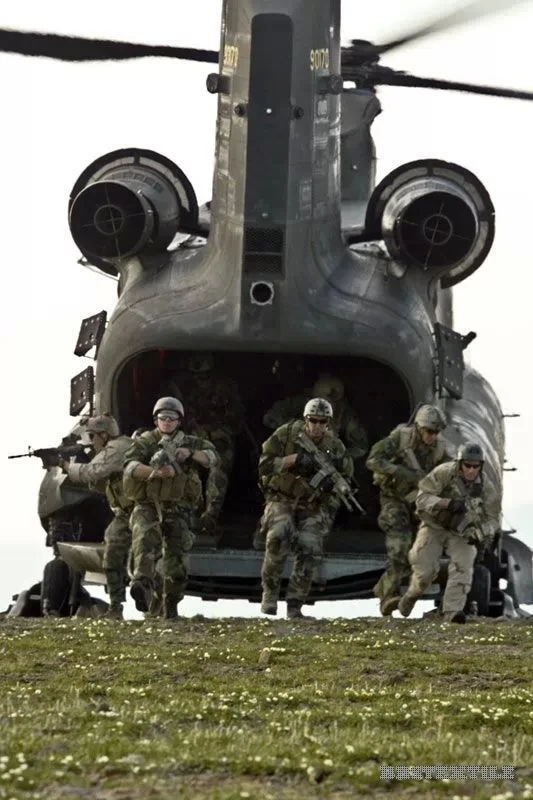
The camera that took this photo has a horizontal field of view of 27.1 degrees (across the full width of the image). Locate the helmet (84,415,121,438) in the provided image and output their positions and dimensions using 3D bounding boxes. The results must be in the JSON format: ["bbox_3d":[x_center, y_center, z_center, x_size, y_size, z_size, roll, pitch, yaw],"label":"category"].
[{"bbox_3d":[-1.715,0.282,11.586,0.341,0.229,0.229,-5,11,-10],"label":"helmet"}]

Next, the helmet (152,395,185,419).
[{"bbox_3d":[-0.915,0.079,10.333,0.250,0.181,0.235,4,-43,3],"label":"helmet"}]

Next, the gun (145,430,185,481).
[{"bbox_3d":[-0.896,0.482,10.099,0.293,0.400,0.306,5,-11,-4],"label":"gun"}]

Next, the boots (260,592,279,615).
[{"bbox_3d":[0.035,1.946,10.516,0.131,0.198,0.254,5,-10,-2],"label":"boots"}]

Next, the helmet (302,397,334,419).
[{"bbox_3d":[0.513,0.088,10.641,0.205,0.181,0.236,7,-8,-5],"label":"helmet"}]

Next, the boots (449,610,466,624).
[{"bbox_3d":[1.815,2.051,10.382,0.159,0.090,0.088,-7,11,12],"label":"boots"}]

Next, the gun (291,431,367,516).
[{"bbox_3d":[0.674,0.681,10.630,0.700,0.732,0.408,11,-13,-32],"label":"gun"}]

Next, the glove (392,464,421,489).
[{"bbox_3d":[1.459,0.798,11.375,0.220,0.119,0.275,12,-15,4],"label":"glove"}]

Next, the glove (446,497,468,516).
[{"bbox_3d":[1.805,1.019,10.387,0.175,0.141,0.130,8,-40,16],"label":"glove"}]

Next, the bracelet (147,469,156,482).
[{"bbox_3d":[-1.047,0.686,9.931,0.028,0.102,0.077,27,13,4],"label":"bracelet"}]

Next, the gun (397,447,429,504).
[{"bbox_3d":[1.517,0.756,11.427,0.323,0.624,0.158,-13,-6,13],"label":"gun"}]

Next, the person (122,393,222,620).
[{"bbox_3d":[-0.914,0.992,10.244,0.797,2.063,0.881,1,-12,19],"label":"person"}]

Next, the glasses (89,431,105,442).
[{"bbox_3d":[-1.782,0.383,11.572,0.141,0.119,0.100,27,11,12],"label":"glasses"}]

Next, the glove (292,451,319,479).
[{"bbox_3d":[0.379,0.622,10.495,0.264,0.234,0.086,17,21,21],"label":"glove"}]

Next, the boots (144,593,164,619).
[{"bbox_3d":[-1.070,1.982,10.633,0.224,0.246,0.240,-3,-12,6],"label":"boots"}]

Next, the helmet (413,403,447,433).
[{"bbox_3d":[1.656,0.193,11.325,0.253,0.240,0.300,3,0,-19],"label":"helmet"}]

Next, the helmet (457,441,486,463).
[{"bbox_3d":[1.918,0.496,10.262,0.180,0.183,0.214,5,-6,1],"label":"helmet"}]
